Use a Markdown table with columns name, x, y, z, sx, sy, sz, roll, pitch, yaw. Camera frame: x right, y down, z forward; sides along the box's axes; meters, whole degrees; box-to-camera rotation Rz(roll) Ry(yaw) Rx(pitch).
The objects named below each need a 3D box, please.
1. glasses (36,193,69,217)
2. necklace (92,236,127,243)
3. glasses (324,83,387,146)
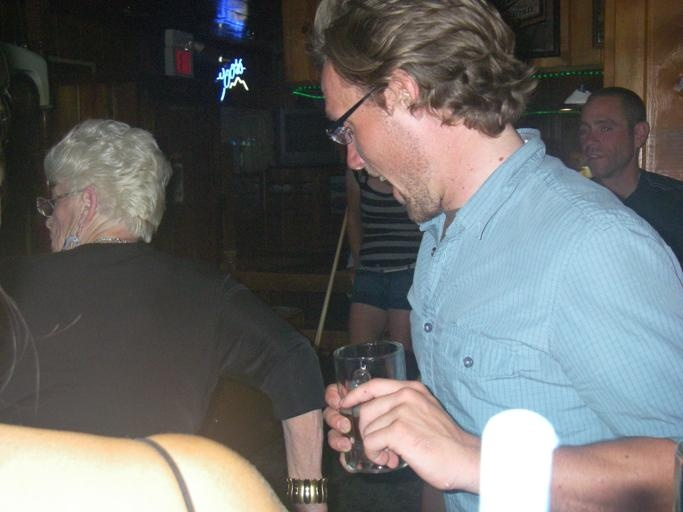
| name | x | y | z | sx | sy | sz | roll | pitch | yaw |
| --- | --- | --- | --- | --- | --- | --- | --- | --- | --- |
| glasses | -0.902 | -0.171 | 2.189 | 0.096 | 0.037 | 0.099 | -4 | 15 | 15 |
| necklace | -0.669 | -0.050 | 2.019 | 0.086 | 0.008 | 0.100 | 0 | 9 | -24 |
| glasses | 0.029 | -0.359 | 1.769 | 0.039 | 0.130 | 0.125 | 47 | 9 | 5 |
